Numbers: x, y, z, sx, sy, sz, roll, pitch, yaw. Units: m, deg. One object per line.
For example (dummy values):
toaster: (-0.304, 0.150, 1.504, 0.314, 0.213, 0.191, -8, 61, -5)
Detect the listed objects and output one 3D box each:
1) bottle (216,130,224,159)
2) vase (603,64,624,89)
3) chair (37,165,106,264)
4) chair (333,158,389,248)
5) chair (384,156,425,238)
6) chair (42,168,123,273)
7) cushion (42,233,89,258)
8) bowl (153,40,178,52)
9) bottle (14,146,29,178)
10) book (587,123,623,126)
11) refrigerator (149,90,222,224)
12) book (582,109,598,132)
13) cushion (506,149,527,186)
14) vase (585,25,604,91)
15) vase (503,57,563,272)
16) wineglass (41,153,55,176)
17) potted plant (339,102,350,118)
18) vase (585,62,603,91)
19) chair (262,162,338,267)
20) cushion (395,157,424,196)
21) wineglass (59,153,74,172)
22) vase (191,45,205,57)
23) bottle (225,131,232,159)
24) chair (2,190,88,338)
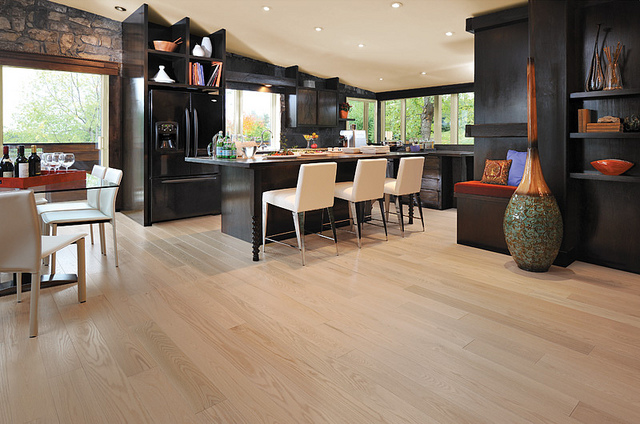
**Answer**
bottle: (-1.282, -0.837, 5.068, 0.090, 0.306, 0.305, -3, 13, -13)
vase: (3.122, -1.423, 4.233, 0.158, 0.257, 0.202, 8, 15, 32)
chair: (-2.778, 0.053, 4.503, 0.719, 0.906, 0.607, -9, 21, -38)
chair: (0.504, -0.154, 5.338, 0.705, 1.063, 0.739, -6, 9, -24)
chair: (1.123, -0.302, 5.828, 0.768, 0.959, 0.789, -4, 9, -15)
chair: (-2.576, 0.042, 4.275, 0.654, 0.909, 0.579, 5, 12, -39)
cushion: (-2.215, 0.259, 3.390, 0.190, 0.253, 0.252, -6, 13, -26)
bowl: (-2.418, -2.545, 6.198, 0.323, 0.183, 0.277, -5, 13, -20)
bottle: (-2.769, -0.463, 3.683, 0.122, 0.270, 0.299, -9, 15, -35)
book: (3.023, -0.920, 4.223, 0.308, 0.026, 0.053, 6, 14, 27)
refrigerator: (-2.077, -0.877, 6.850, 1.371, 2.121, 1.073, 1, -4, -7)
book: (2.915, -0.973, 4.303, 0.141, 0.246, 0.261, 4, 8, 37)
cushion: (2.556, -0.632, 5.162, 0.172, 0.599, 0.613, -8, 2, 34)
vase: (3.000, -1.570, 4.323, 0.141, 0.510, 0.206, 1, 13, 4)
vase: (2.253, -0.479, 4.200, 0.419, 2.228, 0.560, -6, 14, -26)
wineglass: (-2.678, -0.469, 3.930, 0.116, 0.183, 0.388, -9, 15, -35)
potted plant: (0.566, -2.365, 9.447, 0.292, 0.375, 0.328, -1, 1, 28)
vase: (2.996, -1.461, 4.321, 0.149, 0.289, 0.132, 8, 15, 33)
chair: (-0.331, -0.055, 4.873, 0.691, 1.117, 0.994, -10, 16, -37)
cushion: (1.248, -0.488, 5.567, 0.145, 0.543, 0.527, 11, 17, 42)
wineglass: (-2.620, -0.533, 4.127, 0.129, 0.191, 0.122, 4, 7, 30)
vase: (-1.990, -2.600, 6.493, 0.194, 0.178, 0.192, 1, 12, -4)
bottle: (-1.161, -0.800, 5.040, 0.094, 0.243, 0.285, -3, 13, -13)
chair: (-2.301, 0.376, 3.332, 0.287, 1.163, 0.531, 2, 13, 10)
